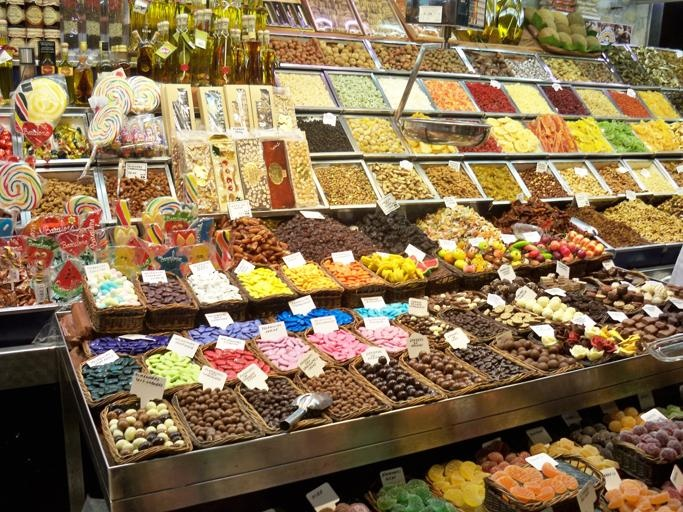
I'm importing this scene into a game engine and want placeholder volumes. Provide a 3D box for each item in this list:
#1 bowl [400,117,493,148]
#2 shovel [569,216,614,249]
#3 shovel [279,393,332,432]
[{"bbox_3d":[0.665,-0.830,3.634,0.513,0.196,0.569,-10,17,-34],"label":"bowl"},{"bbox_3d":[2.175,-0.189,4.777,0.141,0.063,0.620,-15,28,0],"label":"shovel"},{"bbox_3d":[-0.188,0.722,2.585,0.195,0.058,0.377,2,8,18],"label":"shovel"}]
